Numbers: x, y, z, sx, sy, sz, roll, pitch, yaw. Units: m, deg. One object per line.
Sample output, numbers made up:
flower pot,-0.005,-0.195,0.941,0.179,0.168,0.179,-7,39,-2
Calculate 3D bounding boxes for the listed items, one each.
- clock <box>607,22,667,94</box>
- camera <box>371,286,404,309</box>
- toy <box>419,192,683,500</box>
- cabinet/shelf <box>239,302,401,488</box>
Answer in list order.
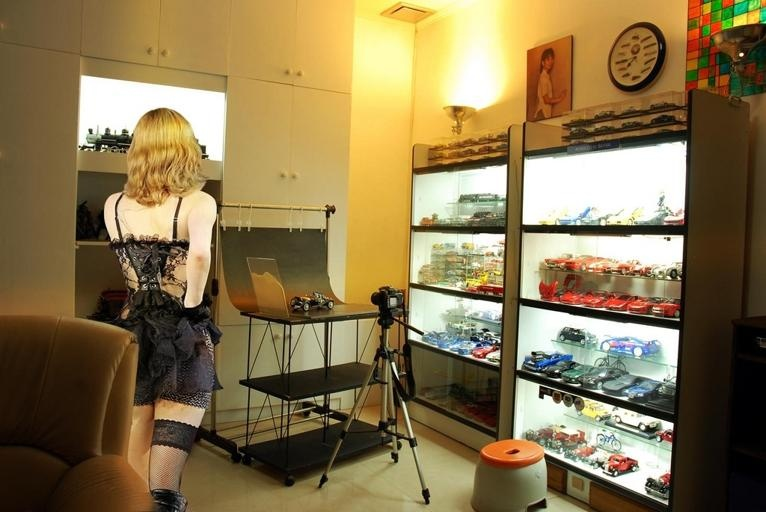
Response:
clock,1.832,-1.433,4.031,0.089,0.483,0.402,-4,10,-35
camera,0.012,0.287,3.989,0.170,0.118,0.169,0,4,-36
toy,1.521,0.646,3.971,0.482,1.673,1.226,-6,11,-45
cabinet/shelf,-0.549,1.133,4.450,0.609,1.177,1.294,1,1,40
